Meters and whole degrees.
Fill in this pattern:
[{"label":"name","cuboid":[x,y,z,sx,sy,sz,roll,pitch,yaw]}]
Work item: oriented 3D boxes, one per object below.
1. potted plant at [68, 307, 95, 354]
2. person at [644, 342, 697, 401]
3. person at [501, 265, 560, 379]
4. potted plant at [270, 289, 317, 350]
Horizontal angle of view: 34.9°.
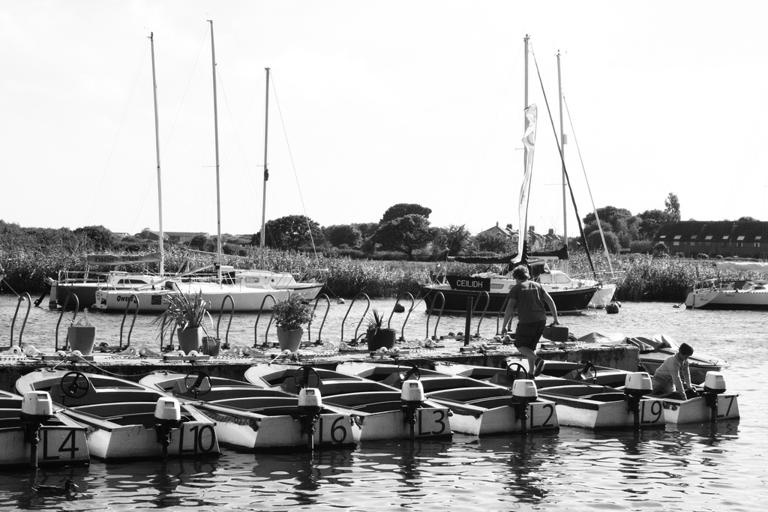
[{"label":"potted plant","cuboid":[-8.132,2.117,33.127,0.795,1.156,0.830,-5,-12,31]},{"label":"person","cuboid":[7.479,3.229,31.846,1.149,2.008,0.590,12,18,29]},{"label":"person","cuboid":[3.826,1.732,31.790,1.329,2.873,1.127,-5,-6,-1]},{"label":"potted plant","cuboid":[-2.580,1.845,34.869,1.200,1.856,1.456,1,1,15]}]
